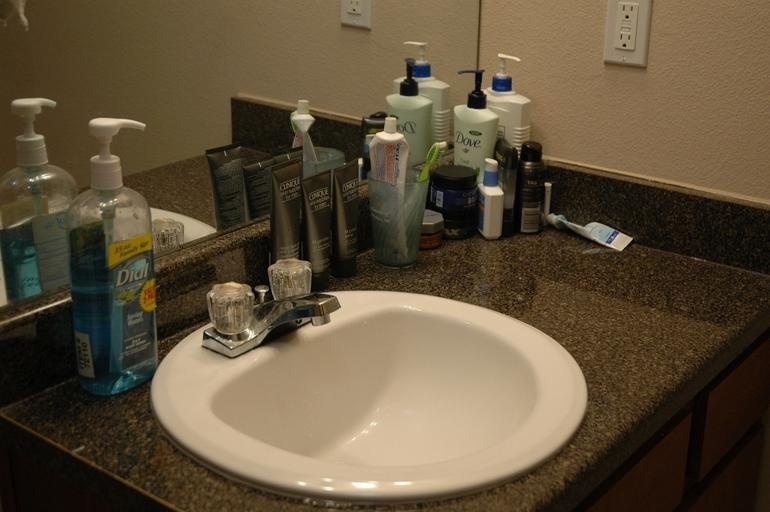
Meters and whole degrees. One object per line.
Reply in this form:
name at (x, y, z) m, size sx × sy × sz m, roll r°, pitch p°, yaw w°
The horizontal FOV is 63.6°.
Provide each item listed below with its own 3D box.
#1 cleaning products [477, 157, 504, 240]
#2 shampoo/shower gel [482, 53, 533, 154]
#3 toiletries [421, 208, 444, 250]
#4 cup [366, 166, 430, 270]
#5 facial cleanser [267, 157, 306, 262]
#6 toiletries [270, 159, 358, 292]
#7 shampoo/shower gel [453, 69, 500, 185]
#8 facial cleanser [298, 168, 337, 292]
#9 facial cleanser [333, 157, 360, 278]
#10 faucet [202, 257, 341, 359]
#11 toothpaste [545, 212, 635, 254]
cleaning products at (0.234, -0.123, 1.393) m, size 0.055 × 0.219 × 0.114 m, roll -4°, pitch 21°, yaw -6°
shampoo/shower gel at (0.276, -0.346, 1.453) m, size 0.080 × 0.227 × 0.097 m, roll -24°, pitch 35°, yaw -38°
toiletries at (0.097, -0.065, 1.379) m, size 0.074 × 0.066 × 0.069 m, roll -6°, pitch 22°, yaw -13°
cup at (0.045, -0.117, 1.317) m, size 0.168 × 0.265 × 0.134 m, roll -4°, pitch 1°, yaw -21°
facial cleanser at (-0.176, -0.088, 1.168) m, size 0.085 × 0.168 × 0.070 m, roll -9°, pitch 23°, yaw -10°
toiletries at (-0.116, -0.066, 1.182) m, size 0.139 × 0.257 × 0.115 m, roll 16°, pitch 30°, yaw 33°
shampoo/shower gel at (0.195, -0.295, 1.446) m, size 0.104 × 0.265 × 0.072 m, roll 20°, pitch 31°, yaw 37°
facial cleanser at (-0.104, -0.049, 1.157) m, size 0.069 × 0.204 × 0.066 m, roll 10°, pitch 24°, yaw 30°
facial cleanser at (-0.086, -0.077, 1.210) m, size 0.040 × 0.190 × 0.083 m, roll 0°, pitch 32°, yaw -7°
faucet at (-0.178, 0.083, 1.048) m, size 0.203 × 0.153 × 0.181 m, roll -20°, pitch 28°, yaw -41°
toothpaste at (0.456, -0.062, 1.423) m, size 0.195 × 0.033 × 0.066 m, roll 19°, pitch 33°, yaw 31°
